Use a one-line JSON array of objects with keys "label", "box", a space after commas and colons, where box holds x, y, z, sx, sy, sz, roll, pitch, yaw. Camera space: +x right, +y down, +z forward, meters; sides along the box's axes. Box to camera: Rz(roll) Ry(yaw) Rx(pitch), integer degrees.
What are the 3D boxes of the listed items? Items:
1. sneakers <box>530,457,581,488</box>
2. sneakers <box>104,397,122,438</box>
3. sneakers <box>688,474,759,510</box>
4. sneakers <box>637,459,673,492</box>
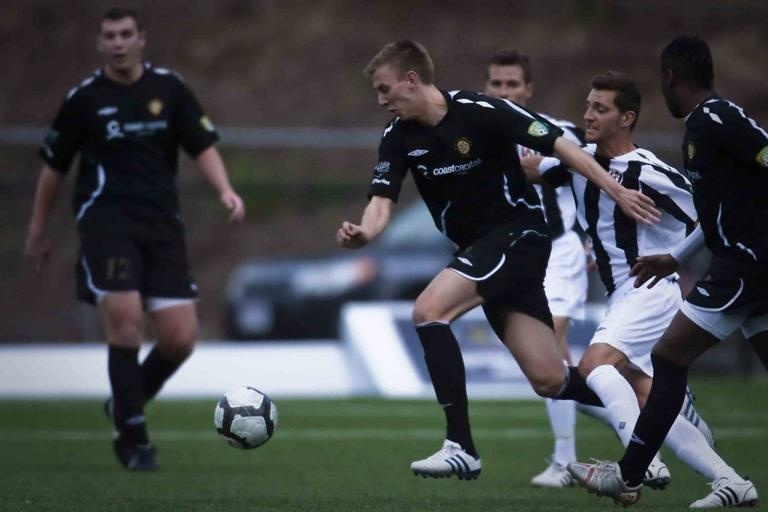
[{"label": "sneakers", "box": [1.333, 1.712, 8.808, 0.164, 0.190, 0.447, -7, -12, 34]}, {"label": "sneakers", "box": [-2.081, 1.240, 8.685, 0.113, 0.336, 0.135, -12, -19, -5]}, {"label": "sneakers", "box": [2.289, 1.637, 7.827, 0.546, 0.225, 0.195, -1, -13, -2]}, {"label": "sneakers", "box": [1.956, 1.565, 8.043, 0.126, 0.163, 0.337, 0, -2, 8]}]
